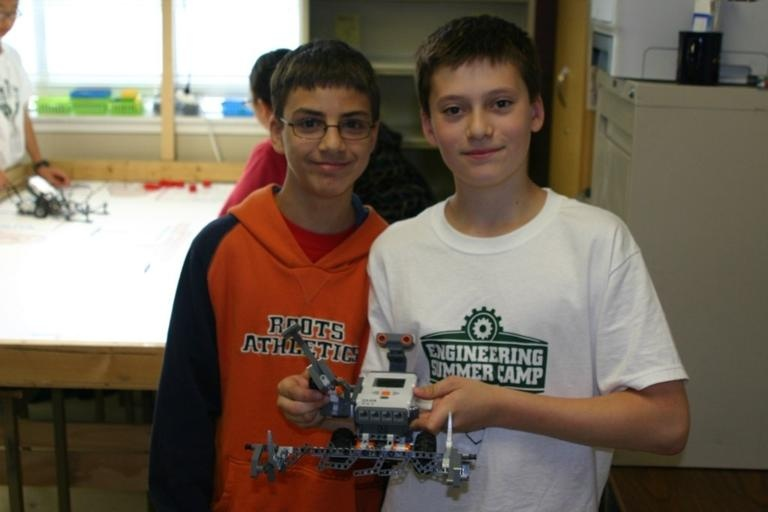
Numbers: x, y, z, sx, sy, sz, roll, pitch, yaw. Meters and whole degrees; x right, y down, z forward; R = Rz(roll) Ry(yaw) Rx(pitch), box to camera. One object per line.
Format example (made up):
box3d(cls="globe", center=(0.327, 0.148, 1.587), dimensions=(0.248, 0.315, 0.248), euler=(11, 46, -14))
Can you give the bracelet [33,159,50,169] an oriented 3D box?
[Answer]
box3d(cls="bracelet", center=(-1.562, -0.412, 3.137), dimensions=(0.050, 0.036, 0.055), euler=(1, 19, 45))
